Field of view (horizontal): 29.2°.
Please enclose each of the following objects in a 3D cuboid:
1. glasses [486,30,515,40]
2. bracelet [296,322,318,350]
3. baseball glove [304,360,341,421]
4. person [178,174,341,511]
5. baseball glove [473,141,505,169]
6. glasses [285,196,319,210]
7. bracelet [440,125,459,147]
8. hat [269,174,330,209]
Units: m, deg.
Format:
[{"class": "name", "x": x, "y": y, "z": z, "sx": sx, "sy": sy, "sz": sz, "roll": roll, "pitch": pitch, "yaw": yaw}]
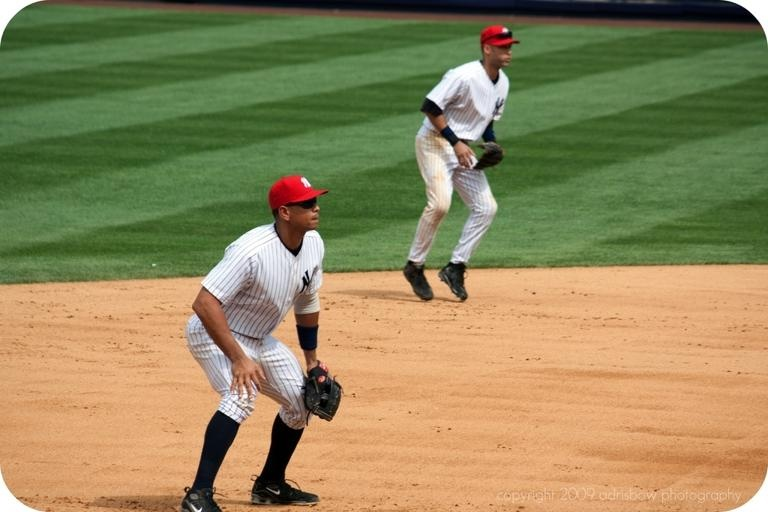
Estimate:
[{"class": "glasses", "x": 1.275, "y": -2.444, "z": 16.433, "sx": 0.323, "sy": 0.103, "sz": 0.147, "roll": 1, "pitch": 11, "yaw": 0}, {"class": "bracelet", "x": -0.718, "y": 0.788, "z": 14.334, "sx": 0.291, "sy": 0.221, "sz": 0.249, "roll": 1, "pitch": 0, "yaw": -1}, {"class": "baseball glove", "x": -0.632, "y": 1.309, "z": 14.102, "sx": 0.500, "sy": 0.238, "sz": 0.584, "roll": 26, "pitch": 30, "yaw": -20}, {"class": "person", "x": -1.111, "y": 0.821, "z": 13.843, "sx": 1.407, "sy": 3.097, "sz": 0.832, "roll": -2, "pitch": 14, "yaw": -14}, {"class": "baseball glove", "x": 1.184, "y": -1.130, "z": 16.830, "sx": 0.296, "sy": 0.132, "sz": 0.425, "roll": -2, "pitch": -5, "yaw": -6}, {"class": "glasses", "x": -0.751, "y": -0.505, "z": 13.950, "sx": 0.371, "sy": 0.119, "sz": 0.196, "roll": 4, "pitch": 6, "yaw": 7}, {"class": "bracelet", "x": 0.744, "y": -1.343, "z": 16.506, "sx": 0.213, "sy": 0.216, "sz": 0.187, "roll": 2, "pitch": 12, "yaw": 2}, {"class": "hat", "x": -0.830, "y": -0.599, "z": 13.891, "sx": 0.555, "sy": 0.180, "sz": 0.332, "roll": -7, "pitch": 5, "yaw": 10}]
